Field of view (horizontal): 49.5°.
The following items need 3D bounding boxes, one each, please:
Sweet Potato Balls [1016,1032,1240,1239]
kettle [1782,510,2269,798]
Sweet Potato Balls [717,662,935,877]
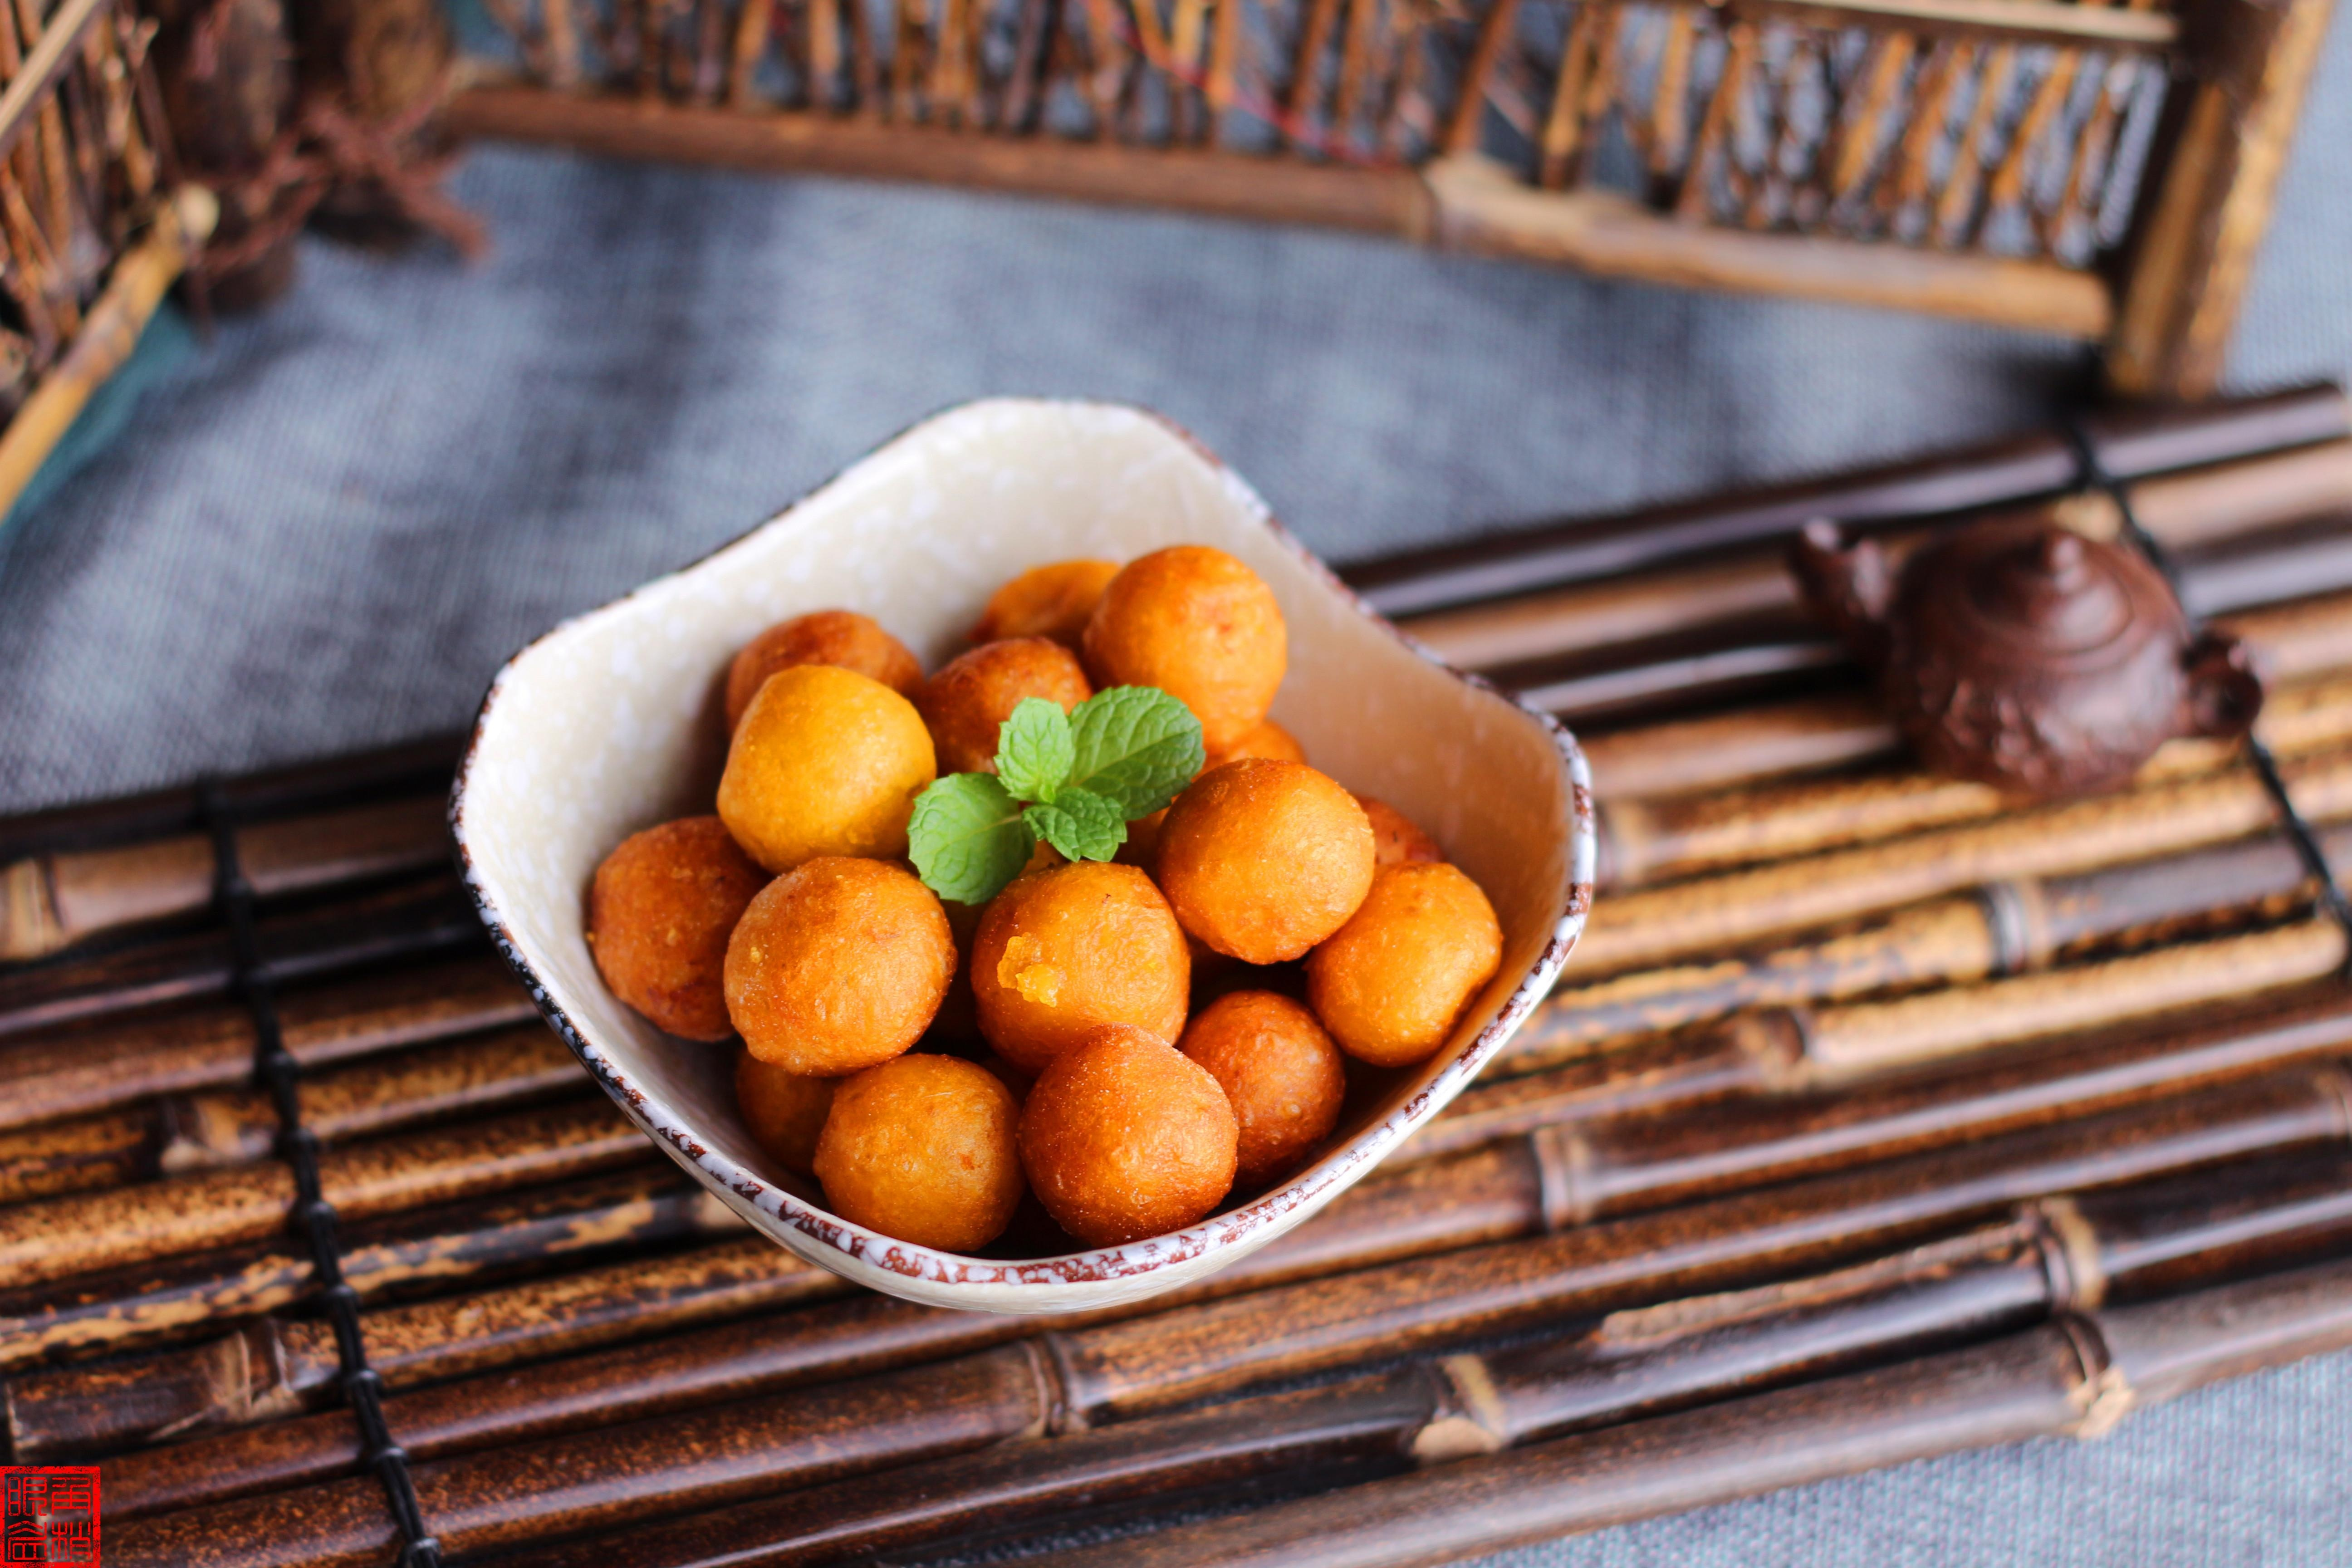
[{"bbox_3d":[-0.016,0.208,1.526,0.099,0.126,0.103,-18,64,42],"label":"Sweet Potato Balls"},{"bbox_3d":[0.613,-0.090,1.816,0.278,0.169,0.200,15,54,10],"label":"kettle"},{"bbox_3d":[-0.226,0.003,1.595,0.137,0.162,0.095,2,85,0],"label":"Sweet Potato Balls"}]
